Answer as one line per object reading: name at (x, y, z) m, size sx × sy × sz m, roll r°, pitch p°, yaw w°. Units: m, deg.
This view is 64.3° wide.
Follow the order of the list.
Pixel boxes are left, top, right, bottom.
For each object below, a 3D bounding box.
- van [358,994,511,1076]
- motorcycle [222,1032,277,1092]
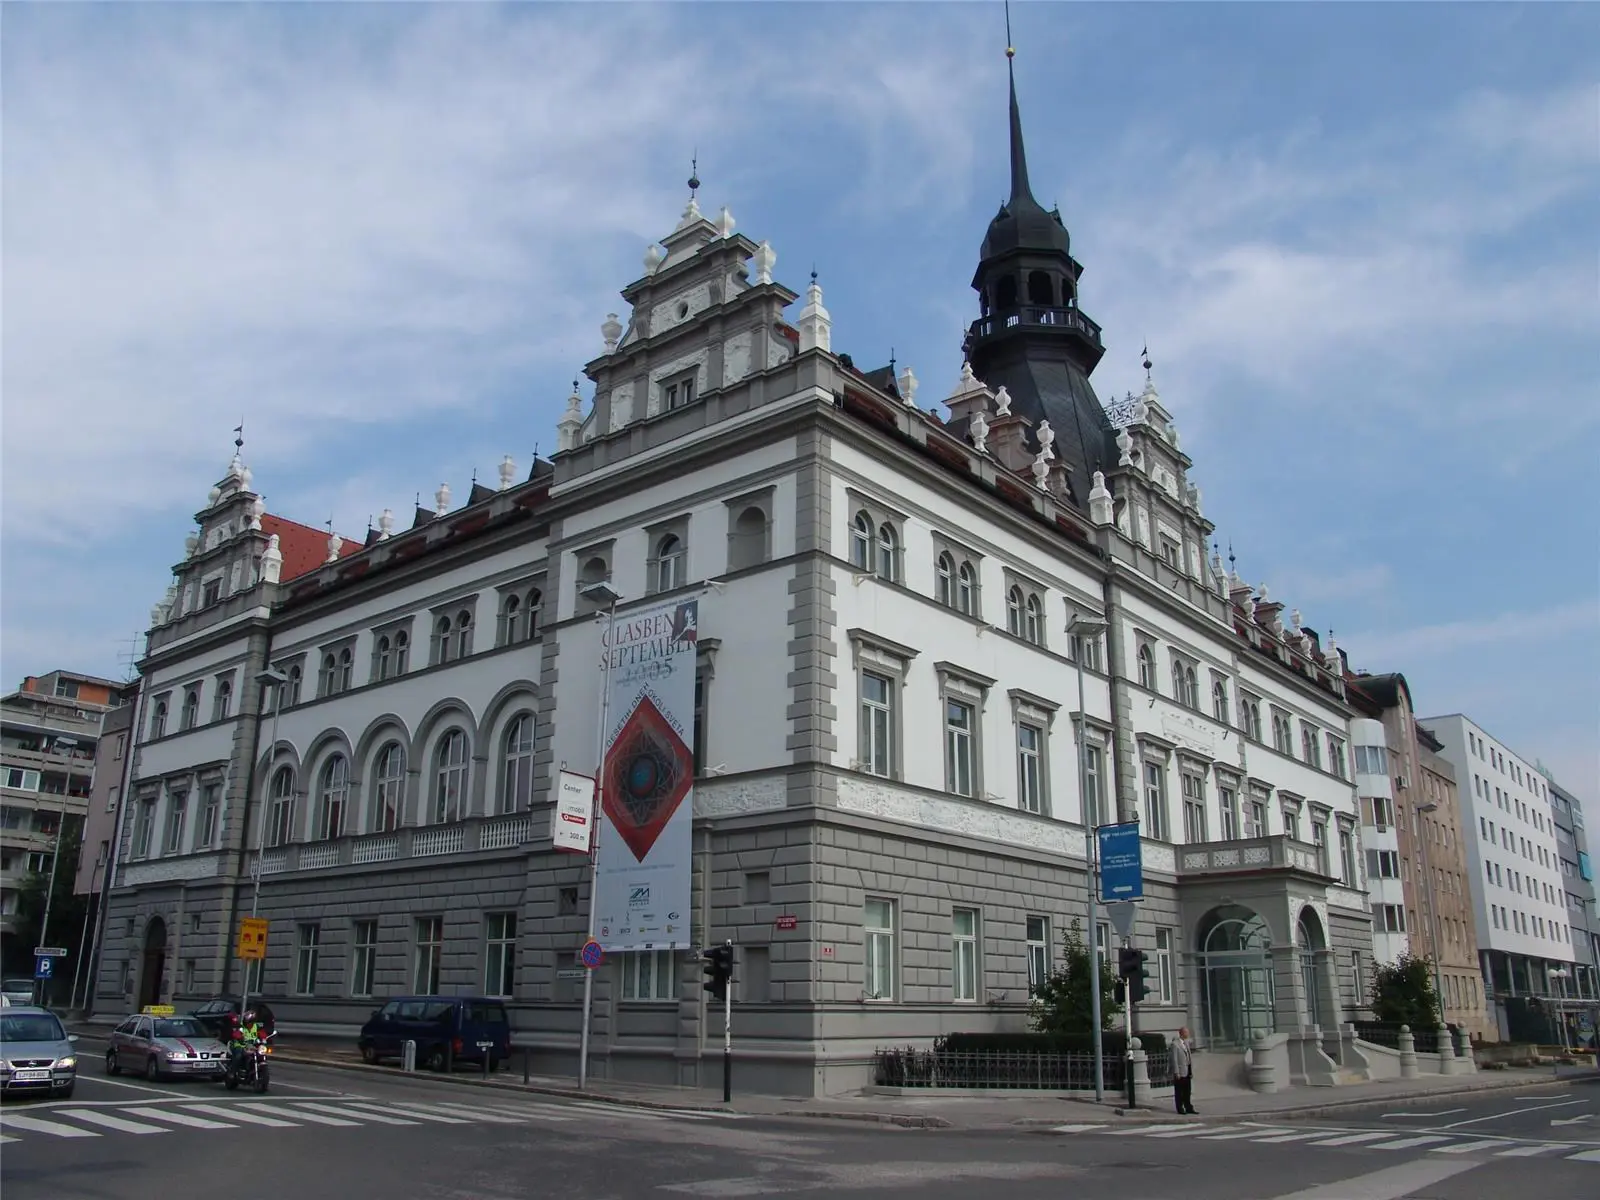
van at (-11.047, 13.029, 38.374) m, size 4.382 × 1.960 × 2.161 m, roll -10°, pitch -21°, yaw 33°
motorcycle at (-12.867, 10.953, 30.034) m, size 0.952 × 1.093 × 1.678 m, roll 14°, pitch -33°, yaw -38°
